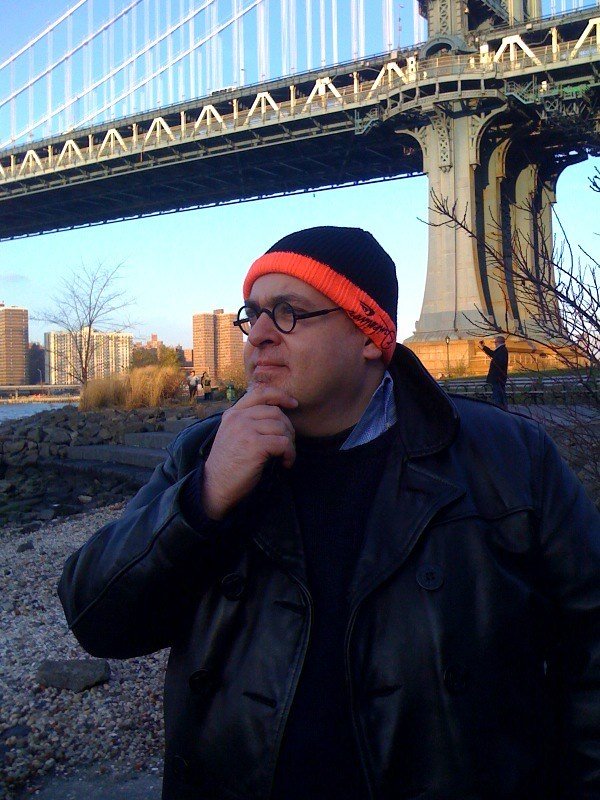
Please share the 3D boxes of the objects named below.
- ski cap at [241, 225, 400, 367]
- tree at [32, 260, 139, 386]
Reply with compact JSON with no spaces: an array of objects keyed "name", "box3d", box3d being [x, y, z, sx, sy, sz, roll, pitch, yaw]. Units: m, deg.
[{"name":"ski cap","box3d":[0.037,-0.246,1.826,0.337,0.357,0.316,18,-7,-3]},{"name":"tree","box3d":[-10.575,-2.221,37.383,4.879,8.644,5.551,1,1,3]}]
